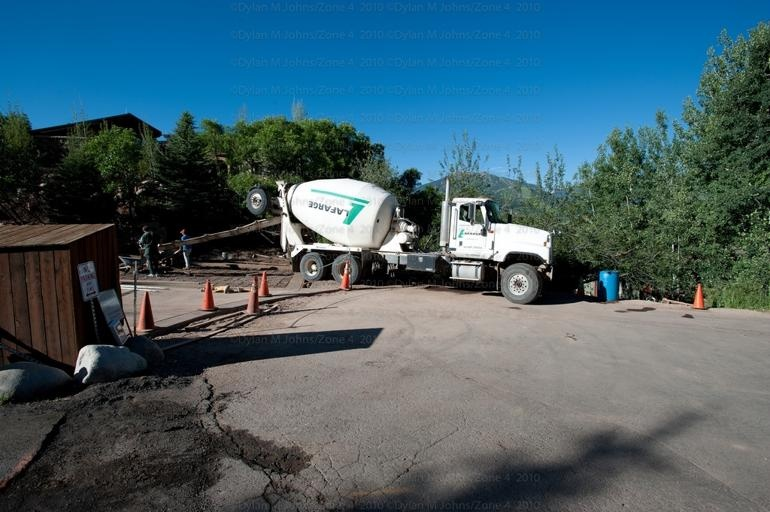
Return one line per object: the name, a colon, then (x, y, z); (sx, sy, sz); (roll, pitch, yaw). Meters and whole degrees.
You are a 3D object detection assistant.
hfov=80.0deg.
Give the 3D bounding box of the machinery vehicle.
machinery vehicle: (0.125, -0.823, 19.469); (13.066, 5.993, 4.289); (3, 9, 22)
